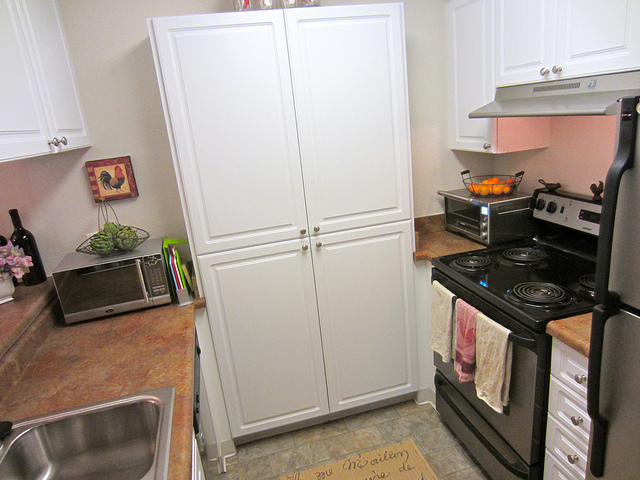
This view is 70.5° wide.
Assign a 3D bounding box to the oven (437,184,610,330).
[{"bbox_3d":[1.073,0.180,2.322,0.666,0.395,0.750,-12,24,-19],"label":"oven"}]

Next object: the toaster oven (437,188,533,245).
[{"bbox_3d":[1.034,-0.167,2.827,0.291,0.268,0.508,-12,19,-15],"label":"toaster oven"}]

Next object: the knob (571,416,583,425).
[{"bbox_3d":[1.036,0.730,1.828,0.011,0.042,0.043,-21,23,-37],"label":"knob"}]

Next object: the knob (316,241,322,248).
[{"bbox_3d":[-0.006,0.024,2.555,0.023,0.027,0.010,-5,8,-16],"label":"knob"}]

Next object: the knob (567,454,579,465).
[{"bbox_3d":[1.047,0.909,1.876,0.036,0.026,0.033,-3,7,-27],"label":"knob"}]

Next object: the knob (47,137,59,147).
[{"bbox_3d":[-1.227,-0.458,2.084,0.035,0.026,0.010,-7,-9,-17],"label":"knob"}]

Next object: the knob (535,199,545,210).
[{"bbox_3d":[1.240,-0.204,2.552,0.015,0.058,0.064,-14,20,-22],"label":"knob"}]

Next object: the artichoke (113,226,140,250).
[{"bbox_3d":[-1.051,-0.011,2.452,0.117,0.118,0.101,-17,7,-34],"label":"artichoke"}]

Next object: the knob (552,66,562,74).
[{"bbox_3d":[1.086,-0.784,2.072,0.024,0.010,0.034,37,-19,-29],"label":"knob"}]

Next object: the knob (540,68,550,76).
[{"bbox_3d":[1.058,-0.795,2.127,0.031,0.045,0.016,10,8,24],"label":"knob"}]

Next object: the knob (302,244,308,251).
[{"bbox_3d":[-0.085,0.037,2.544,0.031,0.032,0.010,7,3,-5],"label":"knob"}]

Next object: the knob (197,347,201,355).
[{"bbox_3d":[-0.658,0.604,2.466,0.010,0.037,0.040,-2,2,-5],"label":"knob"}]

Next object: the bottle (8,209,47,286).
[{"bbox_3d":[-1.642,0.031,2.520,0.113,0.426,0.206,-16,21,-27],"label":"bottle"}]

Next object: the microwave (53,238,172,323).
[{"bbox_3d":[-1.151,0.219,2.538,0.525,0.338,0.327,-10,24,-24],"label":"microwave"}]

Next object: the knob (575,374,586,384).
[{"bbox_3d":[1.025,0.549,1.785,0.032,0.014,0.031,1,3,-15],"label":"knob"}]
